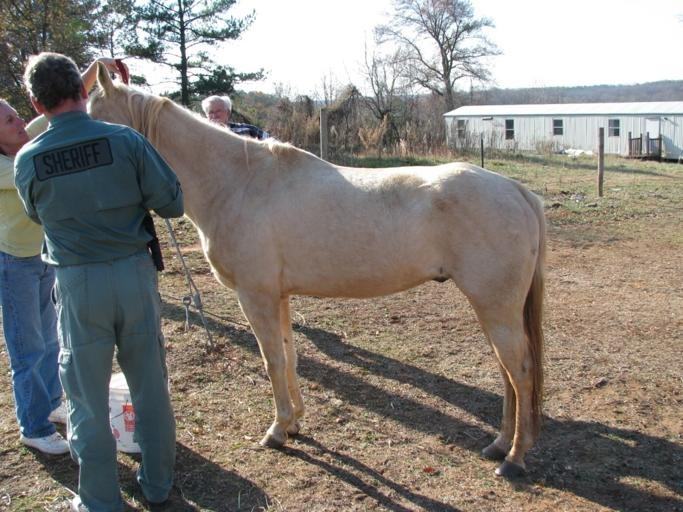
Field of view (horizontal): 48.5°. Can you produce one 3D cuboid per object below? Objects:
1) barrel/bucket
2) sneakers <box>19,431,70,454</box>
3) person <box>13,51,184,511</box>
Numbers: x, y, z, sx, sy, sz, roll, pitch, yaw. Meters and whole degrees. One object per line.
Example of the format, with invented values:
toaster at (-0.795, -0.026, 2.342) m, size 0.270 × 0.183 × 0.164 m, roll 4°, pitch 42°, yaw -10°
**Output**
barrel/bucket at (-1.638, 1.342, 6.495) m, size 0.571 × 0.580 × 0.590 m, roll -1°, pitch 1°, yaw 0°
sneakers at (-2.473, 1.557, 6.384) m, size 0.401 × 0.181 × 0.168 m, roll 6°, pitch 12°, yaw 5°
person at (-1.750, 0.239, 5.657) m, size 1.067 × 3.457 × 0.615 m, roll -5°, pitch 11°, yaw -17°
